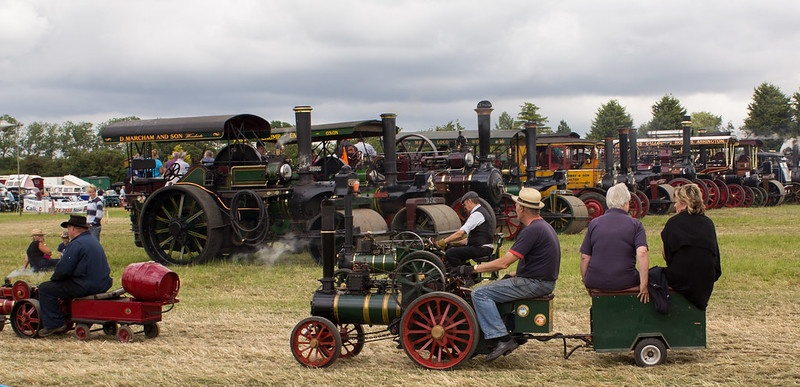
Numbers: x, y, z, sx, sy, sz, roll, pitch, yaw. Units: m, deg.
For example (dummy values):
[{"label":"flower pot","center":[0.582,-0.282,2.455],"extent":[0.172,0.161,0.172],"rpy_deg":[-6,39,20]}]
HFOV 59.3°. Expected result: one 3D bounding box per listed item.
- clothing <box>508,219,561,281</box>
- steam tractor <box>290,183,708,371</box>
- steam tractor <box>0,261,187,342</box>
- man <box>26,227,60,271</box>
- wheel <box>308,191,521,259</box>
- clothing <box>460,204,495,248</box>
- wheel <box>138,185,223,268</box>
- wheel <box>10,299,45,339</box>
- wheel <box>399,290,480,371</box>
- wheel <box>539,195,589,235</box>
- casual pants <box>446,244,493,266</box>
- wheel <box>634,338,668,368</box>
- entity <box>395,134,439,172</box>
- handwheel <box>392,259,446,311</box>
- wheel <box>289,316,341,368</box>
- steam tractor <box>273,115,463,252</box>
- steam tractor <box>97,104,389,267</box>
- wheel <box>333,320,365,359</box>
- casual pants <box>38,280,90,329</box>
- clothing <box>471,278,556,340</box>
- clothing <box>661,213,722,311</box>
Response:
[{"label":"clothing","center":[2.593,1.124,13.468],"extent":[0.831,1.177,1.655],"rpy_deg":[-1,-9,42]},{"label":"steam tractor","center":[3.465,1.871,14.416],"extent":[10.323,4.137,3.032],"rpy_deg":[1,-2,10]},{"label":"steam tractor","center":[-6.254,2.238,14.570],"extent":[4.020,1.292,1.466],"rpy_deg":[1,-5,12]},{"label":"man","center":[-9.663,1.521,18.996],"extent":[0.948,0.768,0.589],"rpy_deg":[13,21,28]},{"label":"wheel","center":[-0.052,0.720,18.882],"extent":[4.026,1.181,2.685],"rpy_deg":[-3,-1,23]},{"label":"clothing","center":[1.637,0.662,14.877],"extent":[0.901,1.013,0.913],"rpy_deg":[0,-1,14]},{"label":"wheel","center":[-5.894,0.892,19.079],"extent":[2.597,2.175,0.885],"rpy_deg":[-1,4,17]},{"label":"wheel","center":[-7.448,2.515,14.088],"extent":[0.802,0.713,0.355],"rpy_deg":[10,1,16]},{"label":"wheel","center":[0.733,2.449,12.733],"extent":[1.673,1.398,0.470],"rpy_deg":[-2,-1,15]},{"label":"wheel","center":[5.409,0.738,23.310],"extent":[1.616,1.213,1.274],"rpy_deg":[5,1,35]},{"label":"casual pants","center":[1.407,1.247,14.402],"extent":[0.778,0.209,0.421],"rpy_deg":[-6,-12,-3]},{"label":"wheel","center":[4.541,2.870,12.693],"extent":[0.607,0.501,0.194],"rpy_deg":[-3,-3,2]},{"label":"entity","center":[0.502,-1.272,22.541],"extent":[1.831,1.593,0.634],"rpy_deg":[-4,-4,41]},{"label":"handwheel","center":[0.303,1.654,12.935],"extent":[0.910,0.991,0.402],"rpy_deg":[-3,15,-7]},{"label":"wheel","center":[-1.577,2.783,12.986],"extent":[0.195,0.961,1.122],"rpy_deg":[-17,-25,42]},{"label":"steam tractor","center":[-0.982,-0.398,22.327],"extent":[2.772,4.262,8.190],"rpy_deg":[-9,4,-29]},{"label":"steam tractor","center":[-4.719,-0.169,19.889],"extent":[8.388,3.946,3.472],"rpy_deg":[1,9,30]},{"label":"wheel","center":[-0.992,2.780,13.309],"extent":[0.163,0.579,0.666],"rpy_deg":[1,-1,36]},{"label":"casual pants","center":[-6.775,2.227,14.043],"extent":[0.872,0.968,0.149],"rpy_deg":[-2,3,3]},{"label":"clothing","center":[2.042,2.014,12.666],"extent":[1.326,0.666,1.209],"rpy_deg":[-4,0,0]},{"label":"clothing","center":[5.278,1.208,12.756],"extent":[0.847,1.770,0.368],"rpy_deg":[-2,3,16]}]
